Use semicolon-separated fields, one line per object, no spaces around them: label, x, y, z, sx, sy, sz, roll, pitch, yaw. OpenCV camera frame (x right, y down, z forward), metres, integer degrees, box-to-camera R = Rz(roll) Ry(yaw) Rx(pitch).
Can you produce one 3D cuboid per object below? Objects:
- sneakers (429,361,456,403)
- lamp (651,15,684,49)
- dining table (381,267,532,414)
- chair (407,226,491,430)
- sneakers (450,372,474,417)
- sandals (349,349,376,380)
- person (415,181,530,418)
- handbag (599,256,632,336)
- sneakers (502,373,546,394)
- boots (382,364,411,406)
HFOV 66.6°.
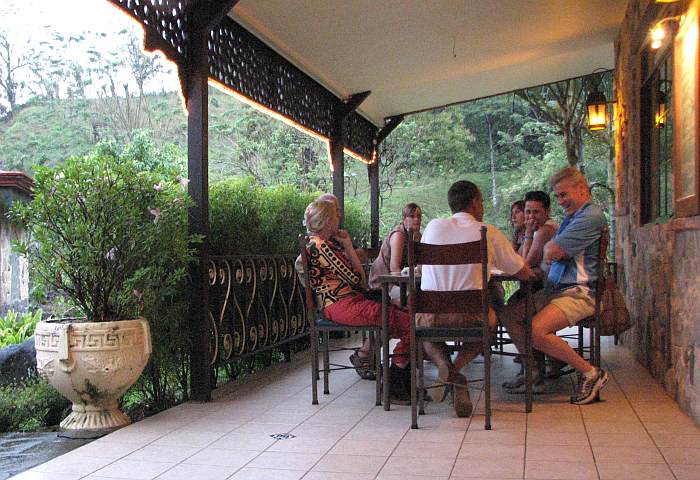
sneakers;0.744;1.141;4.257;0.147;0.322;0.145;19;-8;19
lamp;3.267;-2.216;5.442;0.156;0.258;0.606;-16;11;41
dining table;0.924;0.719;4.697;1.185;1.155;1.231;-3;0;10
chair;0.714;0.640;3.945;0.709;1.443;0.863;-1;-6;17
sneakers;0.908;1.267;4.335;0.164;0.469;0.165;-2;6;1
sandals;0.132;1.310;5.687;0.184;0.150;0.417;-22;31;-3
person;0.985;0.480;4.613;0.972;1.892;0.908;8;-10;-17
handbag;2.513;0.579;5.121;0.263;0.641;0.673;0;-2;31
sneakers;1.650;1.376;5.081;0.400;0.153;0.235;0;0;14
boots;0.448;1.343;4.893;0.276;0.323;0.280;1;-8;-4
